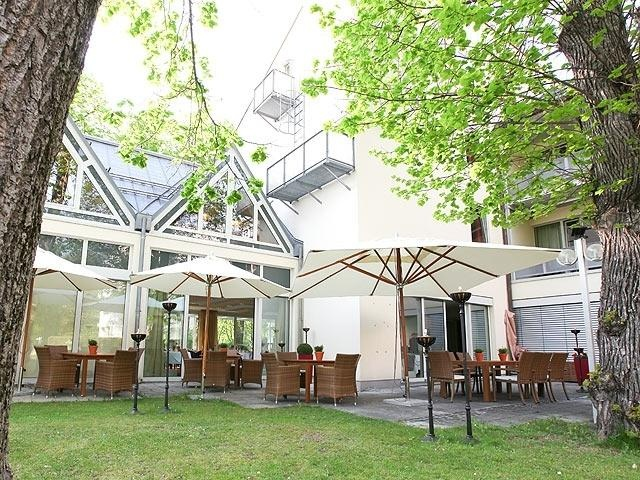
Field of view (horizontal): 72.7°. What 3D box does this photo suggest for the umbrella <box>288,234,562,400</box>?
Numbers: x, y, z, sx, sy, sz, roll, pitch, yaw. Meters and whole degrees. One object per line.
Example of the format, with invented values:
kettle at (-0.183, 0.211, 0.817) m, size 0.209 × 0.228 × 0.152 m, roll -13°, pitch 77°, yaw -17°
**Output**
umbrella at (1.460, 1.308, 7.650) m, size 3.999 × 2.507 × 2.735 m, roll -1°, pitch -11°, yaw 14°
